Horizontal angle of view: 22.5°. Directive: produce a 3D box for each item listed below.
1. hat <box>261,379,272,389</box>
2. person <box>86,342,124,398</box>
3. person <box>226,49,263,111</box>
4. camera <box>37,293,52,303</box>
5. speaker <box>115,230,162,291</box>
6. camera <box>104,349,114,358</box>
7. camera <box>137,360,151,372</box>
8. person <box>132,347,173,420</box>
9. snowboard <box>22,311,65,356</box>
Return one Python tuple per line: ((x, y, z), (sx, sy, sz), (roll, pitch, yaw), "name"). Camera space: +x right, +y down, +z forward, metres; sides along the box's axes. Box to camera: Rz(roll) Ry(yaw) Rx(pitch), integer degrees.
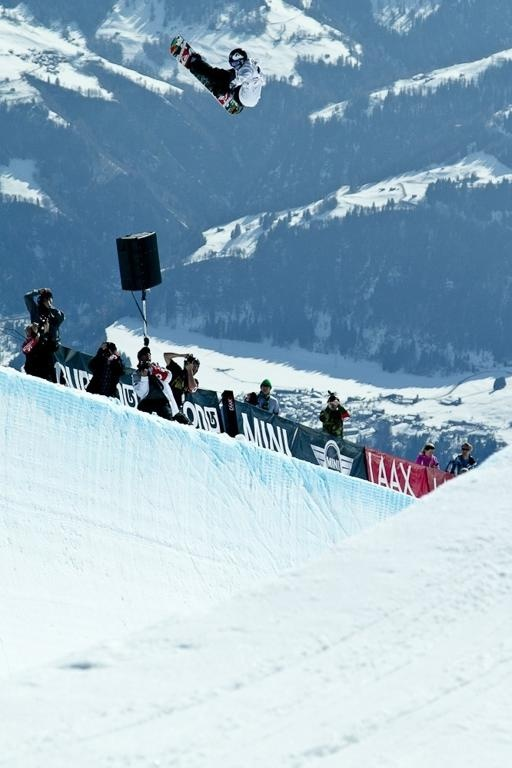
((0.127, 0.008, 17.110), (0.089, 0.100, 0.120), (5, 14, 4), "hat")
((-1.691, -0.125, 14.401), (0.426, 0.622, 0.767), (-3, 3, -7), "person")
((-0.052, -3.721, 15.895), (0.418, 0.759, 0.587), (-4, -7, 13), "person")
((-2.383, -0.971, 14.512), (0.114, 0.162, 0.157), (5, 1, -7), "camera")
((-1.506, -1.540, 16.394), (0.530, 0.761, 0.618), (-3, 3, -7), "speaker")
((-1.620, -0.329, 14.154), (0.060, 0.086, 0.027), (-2, 8, 4), "camera")
((-1.198, -0.180, 13.711), (0.094, 0.130, 0.048), (12, 39, -17), "camera")
((-1.168, 0.002, 13.971), (0.309, 0.773, 0.761), (-1, 3, 17), "person")
((-2.346, -0.554, 14.293), (0.410, 0.526, 0.201), (11, -5, -17), "snowboard")
